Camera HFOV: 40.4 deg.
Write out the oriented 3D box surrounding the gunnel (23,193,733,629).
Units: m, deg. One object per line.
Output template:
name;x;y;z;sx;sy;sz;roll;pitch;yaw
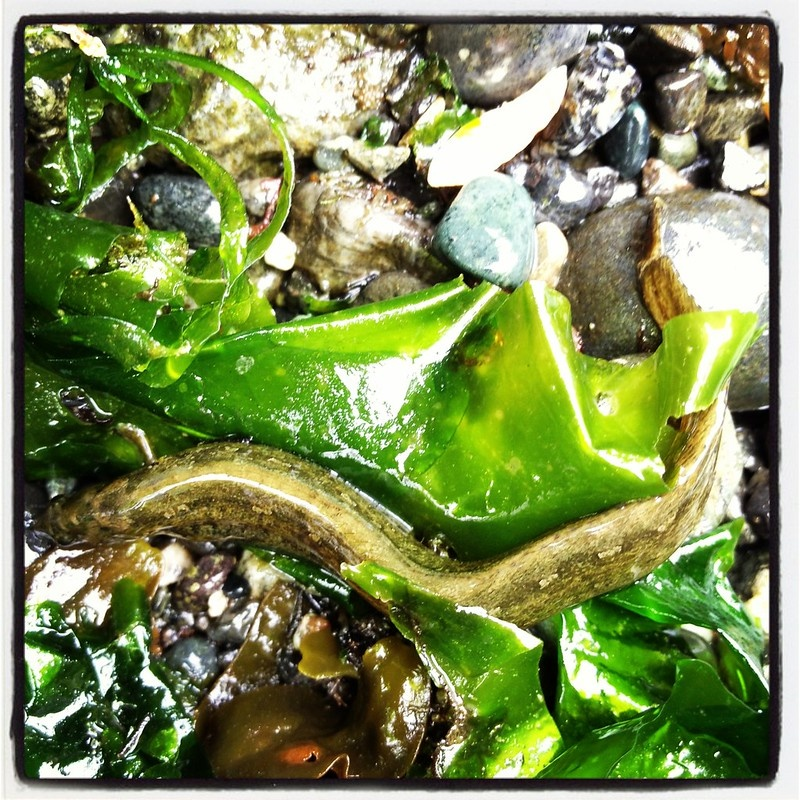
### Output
gunnel;-0.025;0.151;1.214;0.681;0.135;0.438;-2;85;2
